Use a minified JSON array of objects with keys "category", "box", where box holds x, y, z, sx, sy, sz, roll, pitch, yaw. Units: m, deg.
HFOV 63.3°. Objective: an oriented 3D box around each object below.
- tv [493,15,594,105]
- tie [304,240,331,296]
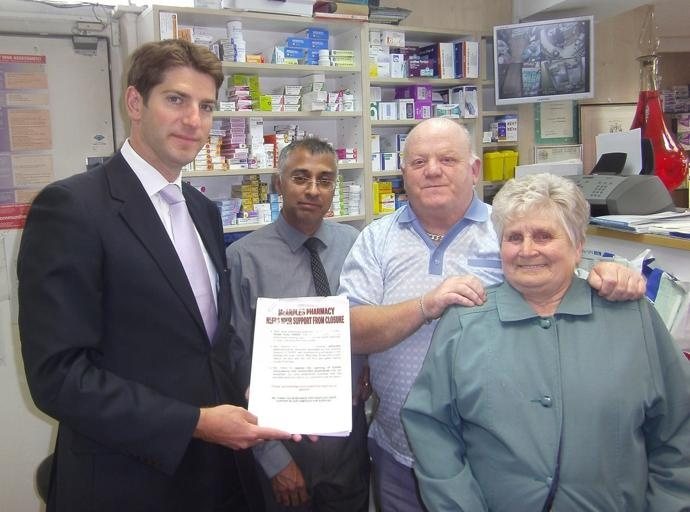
[{"category":"tv","box":[1.778,-1.749,4.989,0.843,0.678,0.086,-1,10,8]},{"category":"tie","box":[-0.118,0.055,2.510,0.099,0.273,0.032,-5,-27,-16]}]
